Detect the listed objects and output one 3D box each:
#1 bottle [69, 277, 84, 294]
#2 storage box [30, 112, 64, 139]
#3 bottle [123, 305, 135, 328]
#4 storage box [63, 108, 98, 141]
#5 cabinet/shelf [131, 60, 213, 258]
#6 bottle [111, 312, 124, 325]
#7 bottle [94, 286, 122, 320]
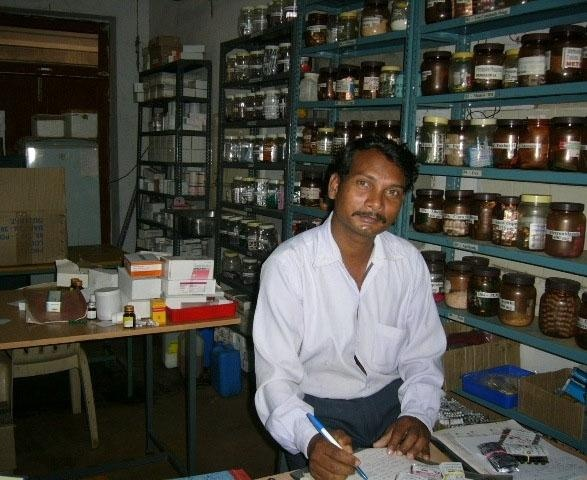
[{"bbox_3d":[-1.156,0.258,2.665,0.080,0.069,0.069,-1,-2,21],"label":"bottle"},{"bbox_3d":[-2.884,-1.333,5.919,0.433,0.384,0.409,-3,11,-23],"label":"storage box"},{"bbox_3d":[-0.786,0.374,2.386,0.059,0.092,0.076,-3,12,-18],"label":"bottle"},{"bbox_3d":[-2.479,-1.343,5.901,0.396,0.350,0.375,1,7,-12],"label":"storage box"},{"bbox_3d":[-1.315,-0.842,5.462,0.823,2.112,2.246,-3,12,-19],"label":"cabinet/shelf"},{"bbox_3d":[-0.856,0.389,2.425,0.054,0.048,0.053,5,-3,-22],"label":"bottle"},{"bbox_3d":[-0.899,0.313,2.471,0.154,0.154,0.147,3,9,6],"label":"bottle"}]
